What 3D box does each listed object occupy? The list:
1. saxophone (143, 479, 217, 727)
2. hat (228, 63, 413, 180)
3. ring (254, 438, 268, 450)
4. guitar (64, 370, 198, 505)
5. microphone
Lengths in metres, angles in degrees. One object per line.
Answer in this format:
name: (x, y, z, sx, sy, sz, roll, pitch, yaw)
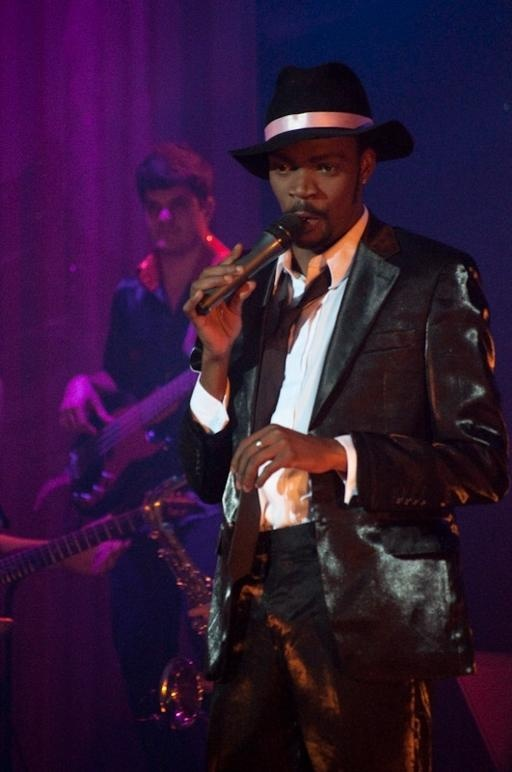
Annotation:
saxophone: (-0.236, 0.680, 2.311, 0.228, 0.236, 0.807, 42, 25, -41)
hat: (0.128, -0.501, 1.561, 0.467, 0.202, 0.453, 0, 10, 3)
ring: (0.008, 0.082, 1.061, 0.017, 0.016, 0.004, -2, -6, 34)
guitar: (-0.426, 0.155, 2.601, 0.409, 0.454, 0.376, -9, 19, -23)
microphone: (-0.010, -0.213, 1.277, 0.144, 0.186, 0.135, 2, 5, 16)
